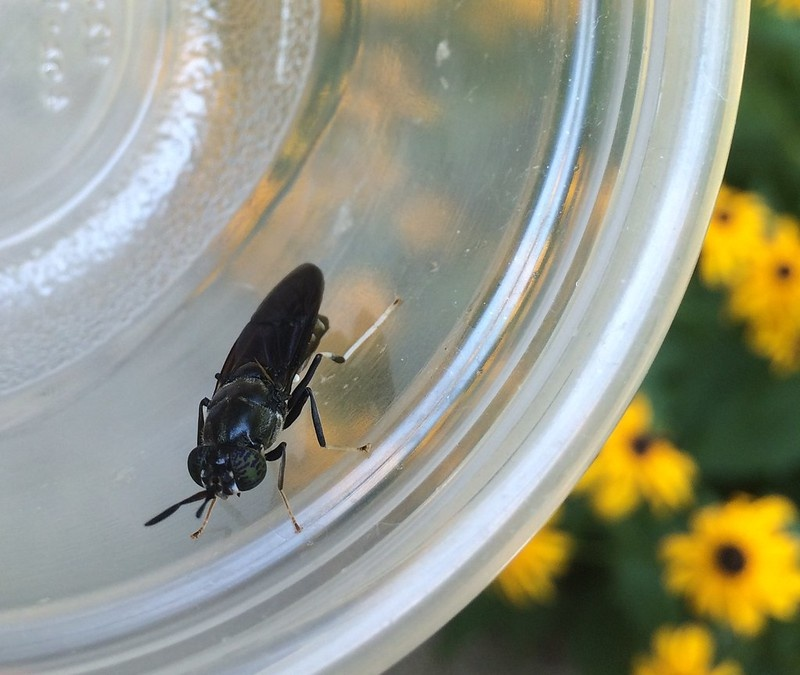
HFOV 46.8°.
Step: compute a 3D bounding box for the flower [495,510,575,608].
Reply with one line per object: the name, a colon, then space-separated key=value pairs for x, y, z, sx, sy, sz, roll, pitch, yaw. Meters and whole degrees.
flower: x=0.205 y=0.328 z=1.395 sx=0.128 sy=0.147 sz=0.036 roll=2 pitch=-12 yaw=-5
